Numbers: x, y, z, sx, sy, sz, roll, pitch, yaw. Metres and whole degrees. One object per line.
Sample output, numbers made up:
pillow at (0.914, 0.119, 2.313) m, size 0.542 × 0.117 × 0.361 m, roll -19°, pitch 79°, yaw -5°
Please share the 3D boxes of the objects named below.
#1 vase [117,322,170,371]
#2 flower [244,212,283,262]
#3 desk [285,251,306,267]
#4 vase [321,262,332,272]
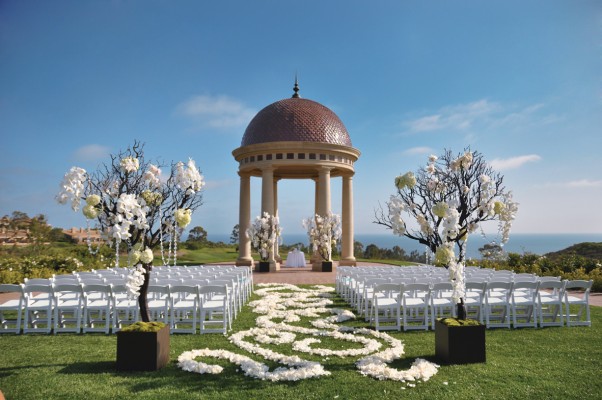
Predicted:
vase at (-3.563, 3.287, 10.452) m, size 0.903 × 0.860 × 1.254 m, roll 4°, pitch -8°, yaw 1°
flower at (-1.968, 2.032, 25.398) m, size 1.608 × 2.848 × 1.132 m, roll -1°, pitch 3°, yaw -15°
desk at (-0.331, 3.581, 27.804) m, size 1.005 × 0.672 × 0.989 m, roll 2°, pitch -6°, yaw -39°
vase at (1.417, 3.633, 25.118) m, size 0.582 × 0.537 × 0.569 m, roll 1°, pitch 3°, yaw -3°
